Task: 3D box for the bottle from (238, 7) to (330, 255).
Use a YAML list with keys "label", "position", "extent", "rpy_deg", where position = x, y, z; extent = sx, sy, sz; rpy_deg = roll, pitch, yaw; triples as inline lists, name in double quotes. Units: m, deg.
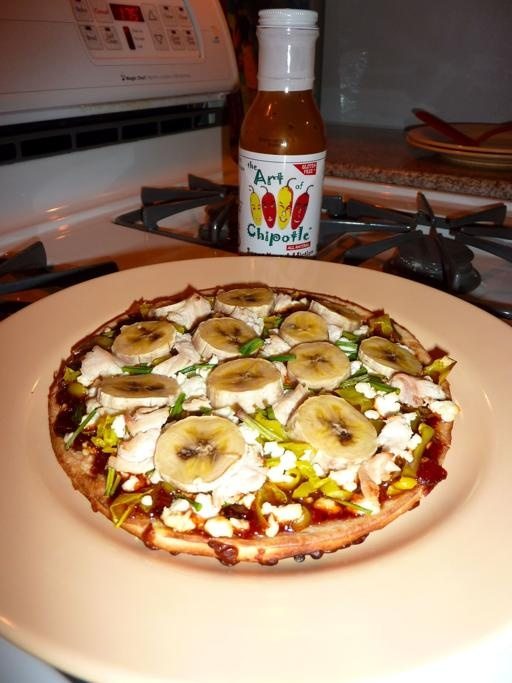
- label: "bottle"
  position: [0.049, -0.396, 1.102]
  extent: [0.171, 0.480, 0.125]
  rpy_deg: [1, 38, 4]
